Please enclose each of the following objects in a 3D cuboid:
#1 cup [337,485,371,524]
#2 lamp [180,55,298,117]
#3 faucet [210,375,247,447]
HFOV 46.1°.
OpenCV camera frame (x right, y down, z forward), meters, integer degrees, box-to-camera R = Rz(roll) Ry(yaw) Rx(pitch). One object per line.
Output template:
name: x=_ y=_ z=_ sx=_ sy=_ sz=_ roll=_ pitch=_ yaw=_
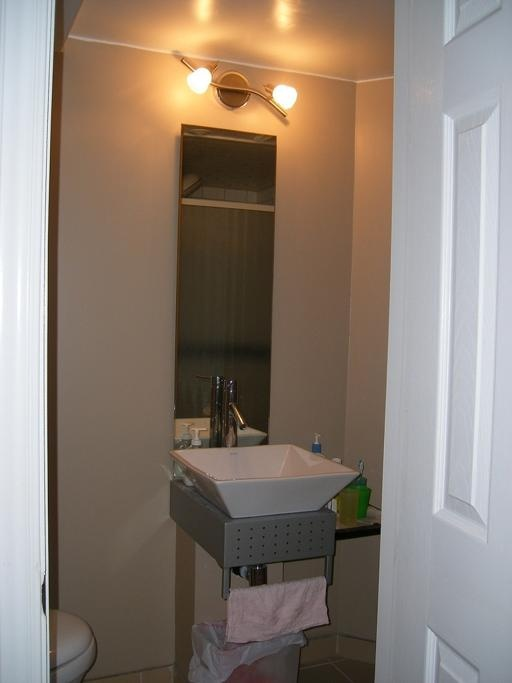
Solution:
cup: x=0.359 y=0.592 z=2.205 sx=0.140 sy=0.154 sz=0.084 roll=2 pitch=-3 yaw=-29
lamp: x=-0.087 y=-1.017 z=2.391 sx=0.322 sy=0.095 sz=0.122 roll=18 pitch=18 yaw=-20
faucet: x=-0.072 y=0.274 z=2.296 sx=0.158 sy=0.277 sz=0.275 roll=0 pitch=0 yaw=-18
